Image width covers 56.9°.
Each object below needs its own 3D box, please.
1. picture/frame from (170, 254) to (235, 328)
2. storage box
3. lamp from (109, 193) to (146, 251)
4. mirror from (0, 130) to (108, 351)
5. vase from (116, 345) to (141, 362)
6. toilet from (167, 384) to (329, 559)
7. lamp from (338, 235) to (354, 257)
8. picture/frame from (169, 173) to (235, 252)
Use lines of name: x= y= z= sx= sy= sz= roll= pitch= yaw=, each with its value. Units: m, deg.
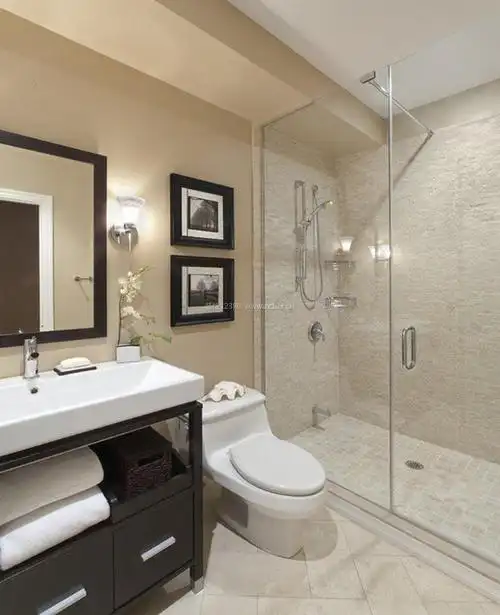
picture/frame: x=-0.279 y=-0.090 z=2.533 sx=0.030 sy=0.362 sz=0.390 roll=4 pitch=4 yaw=44
storage box: x=-0.411 y=0.603 z=1.766 sx=0.177 sy=0.121 sz=0.177 roll=-1 pitch=4 yaw=-44
lamp: x=-0.566 y=-0.399 z=2.183 sx=0.201 sy=0.255 sz=0.152 roll=-8 pitch=13 yaw=-32
mirror: x=-0.791 y=-0.287 z=2.005 sx=0.436 sy=0.881 sz=0.077 roll=-11 pitch=15 yaw=-42
vase: x=-0.546 y=0.196 z=2.104 sx=0.119 sy=0.092 sz=0.067 roll=0 pitch=0 yaw=-22
toilet: x=0.022 y=0.783 z=2.214 sx=0.765 sy=0.558 sz=0.458 roll=11 pitch=12 yaw=43
lamp: x=0.503 y=-0.322 z=2.438 sx=0.084 sy=0.108 sz=0.091 roll=1 pitch=-8 yaw=-1
picture/frame: x=-0.278 y=-0.518 z=2.510 sx=0.036 sy=0.416 sz=0.451 roll=3 pitch=4 yaw=43
